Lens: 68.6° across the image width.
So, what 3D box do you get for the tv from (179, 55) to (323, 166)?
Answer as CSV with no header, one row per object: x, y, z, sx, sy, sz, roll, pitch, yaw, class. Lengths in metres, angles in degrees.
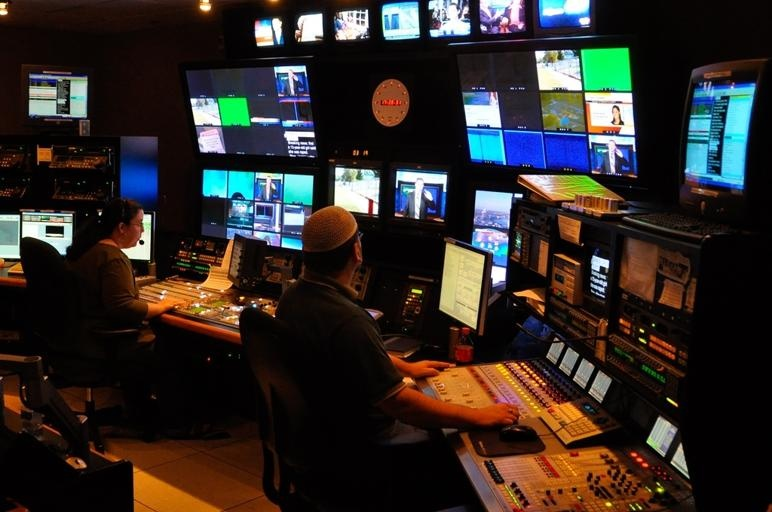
-1.131,-1.181,4.720,0.104,0.784,1.417,0,9,38,tv

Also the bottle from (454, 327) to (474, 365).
0.463,0.560,3.313,0.104,0.270,0.092,0,18,6,bottle

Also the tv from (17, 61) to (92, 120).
-3.158,-1.571,5.617,0.671,0.541,0.348,2,3,2,tv

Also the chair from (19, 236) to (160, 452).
-2.031,0.675,4.029,0.783,1.182,0.753,5,-7,7,chair

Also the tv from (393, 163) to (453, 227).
0.248,-0.438,4.131,0.501,0.438,0.044,10,13,41,tv

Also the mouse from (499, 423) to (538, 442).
0.590,0.779,2.513,0.135,0.041,0.072,-3,8,0,mouse

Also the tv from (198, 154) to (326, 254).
-1.136,-0.430,4.839,1.159,0.636,0.010,7,5,28,tv

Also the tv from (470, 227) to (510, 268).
0.695,-0.057,3.700,0.290,0.272,0.037,6,5,36,tv

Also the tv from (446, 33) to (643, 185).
0.956,-0.894,3.448,1.093,0.836,0.206,6,13,37,tv
